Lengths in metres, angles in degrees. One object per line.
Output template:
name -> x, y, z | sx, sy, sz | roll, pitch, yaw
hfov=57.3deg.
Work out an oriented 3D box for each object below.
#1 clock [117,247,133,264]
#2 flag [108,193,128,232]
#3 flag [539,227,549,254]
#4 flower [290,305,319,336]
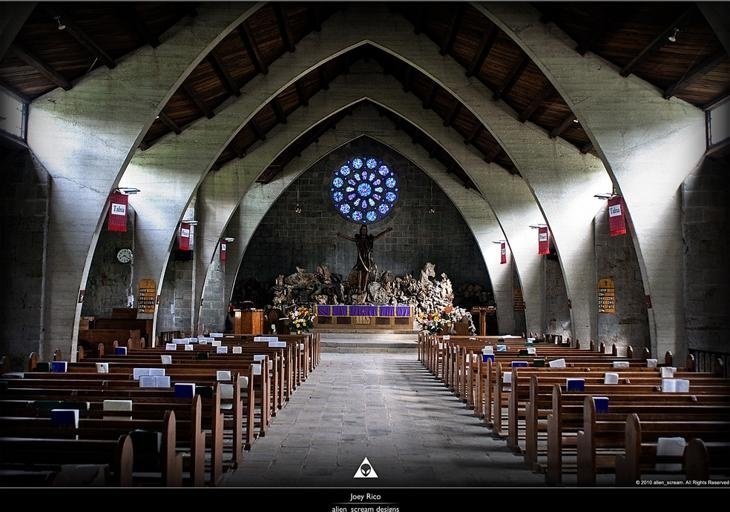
clock -> -6.992, 0.022, 19.393 | 0.529, 0.440, 0.206 | -3, -10, 24
flag -> -5.770, -1.012, 15.652 | 0.535, 0.955, 0.094 | 7, 6, 14
flag -> 5.329, -0.468, 19.844 | 0.267, 0.777, 0.534 | 0, -9, 6
flower -> -2.134, 2.240, 23.524 | 1.044, 1.138, 0.907 | 6, -15, -16
